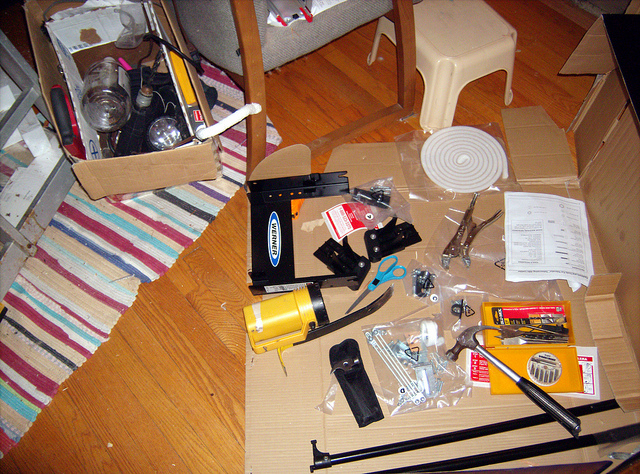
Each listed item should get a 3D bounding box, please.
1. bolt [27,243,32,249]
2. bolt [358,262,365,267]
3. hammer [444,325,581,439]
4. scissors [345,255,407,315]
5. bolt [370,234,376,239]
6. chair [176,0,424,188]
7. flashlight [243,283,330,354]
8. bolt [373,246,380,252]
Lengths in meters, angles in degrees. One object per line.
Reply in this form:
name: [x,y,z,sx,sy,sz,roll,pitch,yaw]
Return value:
bolt: [-1.182,0.034,2.195,0.017,0.019,0.005,3,5,-44]
bolt: [0.159,0.102,2.069,0.024,0.005,0.019,-6,52,-2]
hammer: [0.663,0.465,1.949,0.432,0.344,0.384,9,58,3]
scissors: [0.218,0.193,2.123,0.305,0.021,0.118,-40,65,-15]
bolt: [0.208,-0.003,2.126,0.023,0.008,0.017,-8,51,-4]
chair: [-0.041,-0.792,2.286,0.959,0.740,0.564,-22,52,-15]
flashlight: [-0.122,0.300,1.992,0.297,0.164,0.135,-14,51,-9]
bolt: [0.220,0.045,2.108,0.025,0.004,0.023,-6,52,-2]
